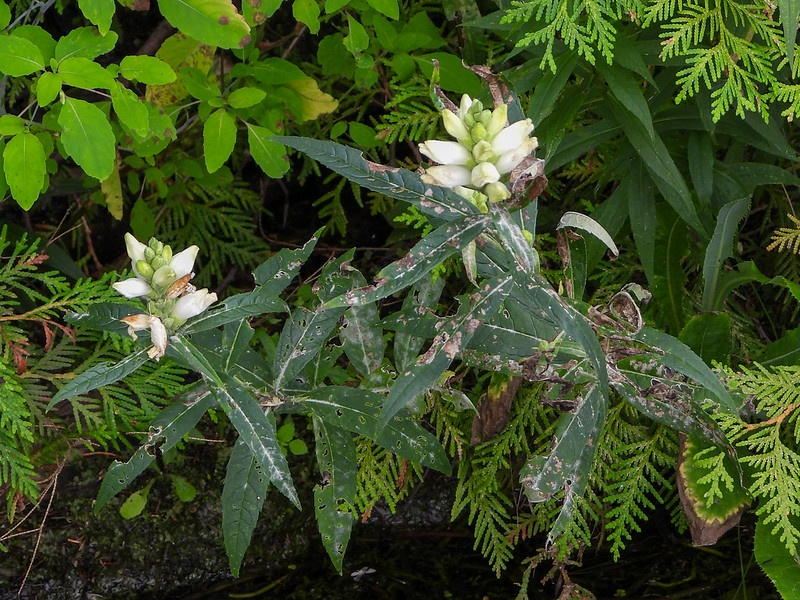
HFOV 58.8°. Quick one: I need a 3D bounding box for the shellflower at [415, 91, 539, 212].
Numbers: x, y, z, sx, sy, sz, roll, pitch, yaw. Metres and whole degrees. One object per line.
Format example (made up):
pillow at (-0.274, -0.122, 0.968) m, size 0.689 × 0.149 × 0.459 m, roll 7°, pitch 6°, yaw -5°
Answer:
shellflower at (0.204, -0.325, 1.598) m, size 0.202 × 0.231 × 0.310 m, roll 27°, pitch 57°, yaw 27°
